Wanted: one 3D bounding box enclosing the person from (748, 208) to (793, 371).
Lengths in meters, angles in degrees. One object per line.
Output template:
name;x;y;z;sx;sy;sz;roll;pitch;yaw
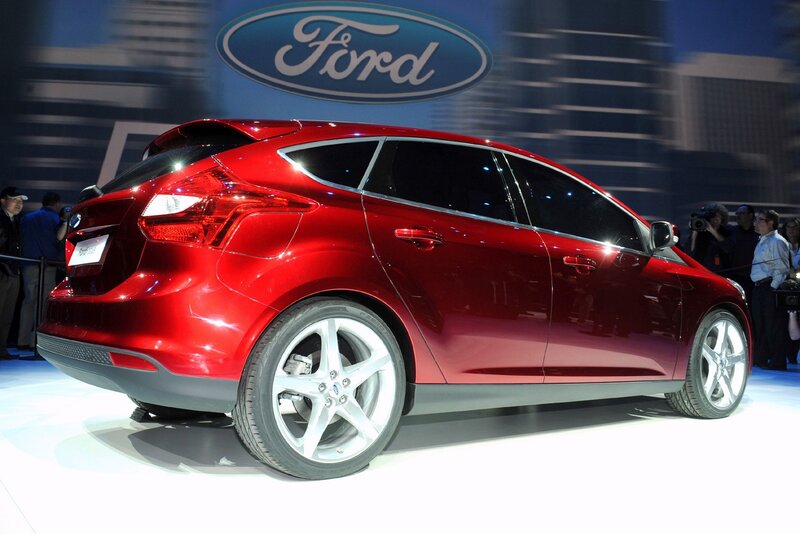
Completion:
person;5.202;0.299;7.868;0.455;2.182;0.834;3;4;12

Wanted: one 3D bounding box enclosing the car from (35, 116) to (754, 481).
car;0.187;0.101;4.187;4.711;1.282;2.180;1;0;-27
